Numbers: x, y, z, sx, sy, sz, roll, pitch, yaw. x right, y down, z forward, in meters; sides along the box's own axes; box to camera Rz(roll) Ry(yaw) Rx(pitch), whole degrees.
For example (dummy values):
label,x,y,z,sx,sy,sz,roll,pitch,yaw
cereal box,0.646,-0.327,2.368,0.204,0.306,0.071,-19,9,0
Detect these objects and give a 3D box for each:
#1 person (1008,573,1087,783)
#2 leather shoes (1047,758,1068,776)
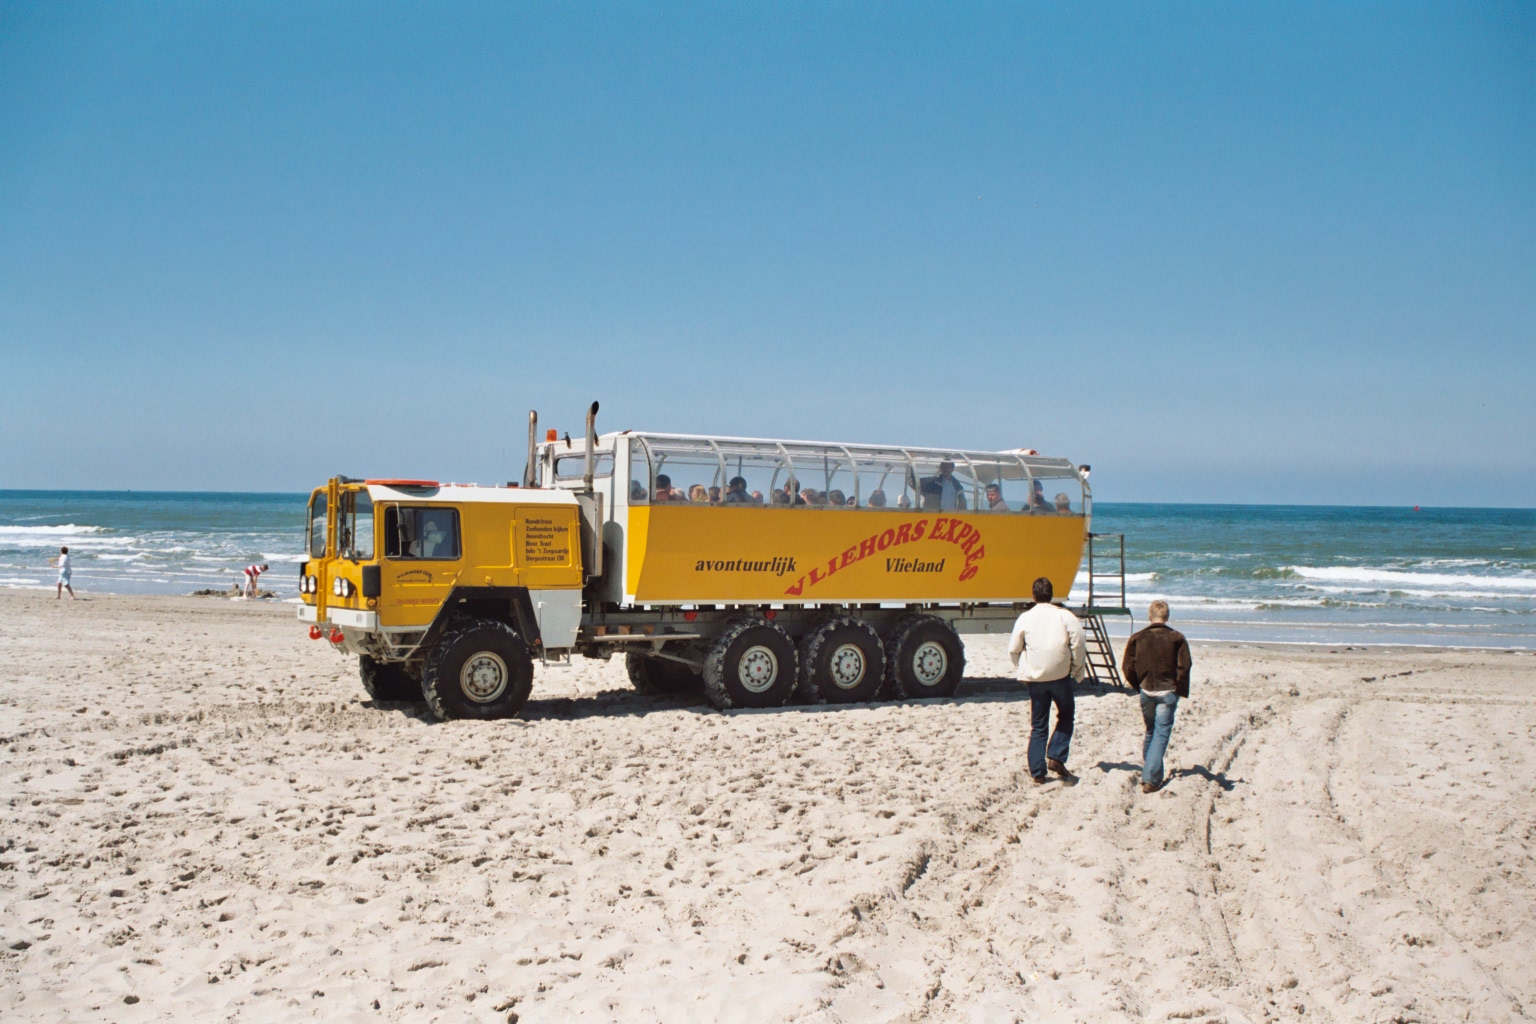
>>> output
label,x,y,z,sx,sy,sz,roll,pitch,yaw
person,2.994,1.805,15.564,0.739,2.387,1.082,3,14,10
leather shoes,3.139,2.795,15.672,0.288,0.131,0.097,35,-21,-4
